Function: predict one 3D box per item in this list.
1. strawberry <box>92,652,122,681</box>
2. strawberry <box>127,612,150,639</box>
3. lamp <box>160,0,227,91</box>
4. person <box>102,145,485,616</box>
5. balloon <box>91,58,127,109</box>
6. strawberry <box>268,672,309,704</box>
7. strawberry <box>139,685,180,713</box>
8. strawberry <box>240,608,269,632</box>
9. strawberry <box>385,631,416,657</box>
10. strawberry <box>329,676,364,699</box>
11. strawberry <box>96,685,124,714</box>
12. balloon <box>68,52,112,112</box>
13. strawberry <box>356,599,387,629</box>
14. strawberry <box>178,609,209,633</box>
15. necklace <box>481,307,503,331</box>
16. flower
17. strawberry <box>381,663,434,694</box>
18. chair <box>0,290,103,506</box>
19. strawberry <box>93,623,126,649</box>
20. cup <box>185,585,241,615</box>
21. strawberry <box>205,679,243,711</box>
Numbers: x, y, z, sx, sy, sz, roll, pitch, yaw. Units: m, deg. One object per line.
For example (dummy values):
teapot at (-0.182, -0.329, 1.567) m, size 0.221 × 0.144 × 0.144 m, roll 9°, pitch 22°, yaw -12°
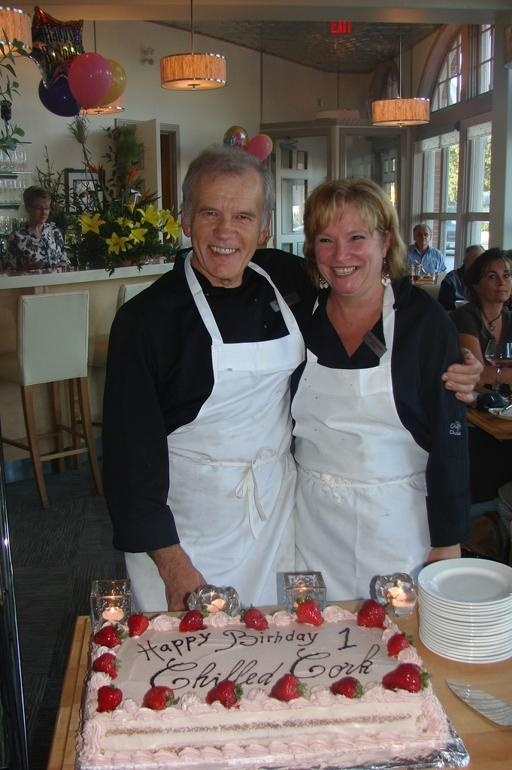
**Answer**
strawberry at (-0.240, 0.457, 0.974) m, size 0.031 × 0.034 × 0.033 m, roll -13°, pitch -24°, yaw -4°
strawberry at (-0.215, 0.439, 1.102) m, size 0.032 × 0.034 × 0.034 m, roll -22°, pitch 29°, yaw 32°
lamp at (-0.670, -3.185, 6.302) m, size 0.559 × 0.790 × 2.230 m, roll 1°, pitch 6°, yaw -7°
person at (-0.089, 0.015, 1.527) m, size 0.270 × 1.128 × 0.603 m, roll 6°, pitch 8°, yaw 41°
balloon at (-1.361, -2.818, 5.647) m, size 0.320 × 0.381 × 0.318 m, roll -2°, pitch 5°, yaw 19°
strawberry at (0.047, 0.450, 0.898) m, size 0.040 × 0.036 × 0.031 m, roll 28°, pitch -32°, yaw -11°
strawberry at (-0.141, 0.459, 0.882) m, size 0.039 × 0.032 × 0.031 m, roll 18°, pitch 36°, yaw -14°
strawberry at (-0.002, 0.434, 1.109) m, size 0.043 × 0.033 × 0.032 m, roll 22°, pitch 24°, yaw 15°
strawberry at (0.244, 0.443, 1.039) m, size 0.033 × 0.034 × 0.050 m, roll -9°, pitch -3°, yaw 30°
strawberry at (0.137, 0.451, 0.901) m, size 0.035 × 0.026 × 0.026 m, roll -1°, pitch -16°, yaw 11°
strawberry at (-0.211, 0.457, 0.876) m, size 0.029 × 0.033 × 0.028 m, roll 20°, pitch -27°, yaw -5°
balloon at (-1.297, -2.367, 4.665) m, size 0.352 × 0.360 × 0.294 m, roll 2°, pitch 6°, yaw 9°
strawberry at (0.215, 0.428, 1.125) m, size 0.050 × 0.040 × 0.019 m, roll -38°, pitch -4°, yaw -16°
strawberry at (-0.117, 0.430, 1.111) m, size 0.030 × 0.030 × 0.041 m, roll 1°, pitch 6°, yaw 37°
necklace at (1.348, -0.366, 3.442) m, size 0.101 × 0.135 × 0.033 m, roll -1°, pitch -2°, yaw -2°
flower at (-0.981, -1.365, 4.571) m, size 0.610 × 0.962 × 0.592 m, roll 21°, pitch 15°, yaw 37°
strawberry at (0.228, 0.443, 0.914) m, size 0.062 × 0.040 × 0.043 m, roll -1°, pitch -26°, yaw -8°
chair at (-1.310, 0.082, 3.932) m, size 0.579 × 1.348 × 0.872 m, roll 0°, pitch 6°, yaw -14°
strawberry at (-0.260, 0.446, 1.066) m, size 0.051 × 0.038 × 0.038 m, roll 9°, pitch 37°, yaw -14°
cup at (-0.089, 0.418, 1.187) m, size 0.064 × 0.033 × 0.062 m, roll -2°, pitch -9°, yaw 0°
strawberry at (-0.048, 0.457, 0.892) m, size 0.053 × 0.029 × 0.041 m, roll 1°, pitch 6°, yaw 0°
